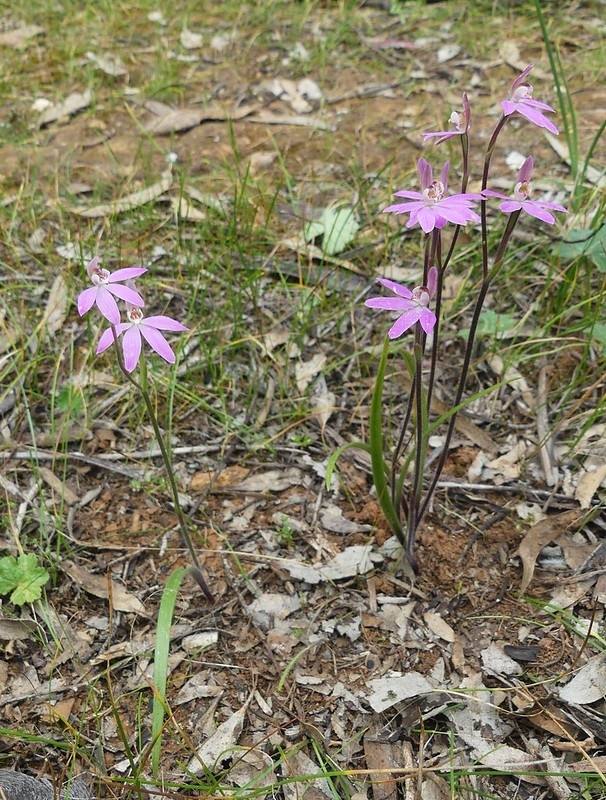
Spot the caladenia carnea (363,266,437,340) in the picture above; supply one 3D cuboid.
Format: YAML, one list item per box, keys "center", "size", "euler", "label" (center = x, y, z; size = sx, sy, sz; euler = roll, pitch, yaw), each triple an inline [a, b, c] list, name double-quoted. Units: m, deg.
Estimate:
- center: [0.243, -0.210, 1.591]
  size: [0.167, 0.144, 0.070]
  euler: [-17, 63, 21]
  label: "caladenia carnea"

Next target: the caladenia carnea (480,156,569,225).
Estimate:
- center: [0.493, -0.459, 1.697]
  size: [0.155, 0.052, 0.156]
  euler: [18, 30, 24]
  label: "caladenia carnea"
